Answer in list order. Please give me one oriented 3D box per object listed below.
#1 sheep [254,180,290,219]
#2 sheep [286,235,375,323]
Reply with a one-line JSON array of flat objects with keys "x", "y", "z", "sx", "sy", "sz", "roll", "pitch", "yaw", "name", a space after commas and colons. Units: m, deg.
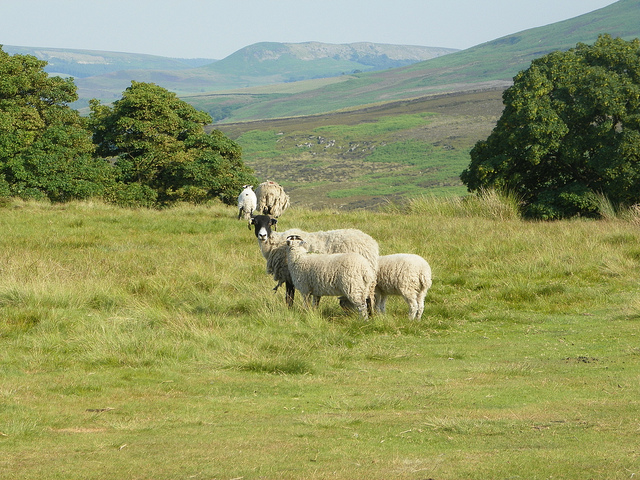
[{"x": -1.674, "y": -1.513, "z": 45.382, "sx": 0.843, "sy": 0.975, "sz": 1.647, "roll": 2, "pitch": 4, "yaw": -2, "name": "sheep"}, {"x": 0.131, "y": 1.273, "z": 41.941, "sx": 3.493, "sy": 2.466, "sz": 1.321, "roll": 6, "pitch": 8, "yaw": 29, "name": "sheep"}]
